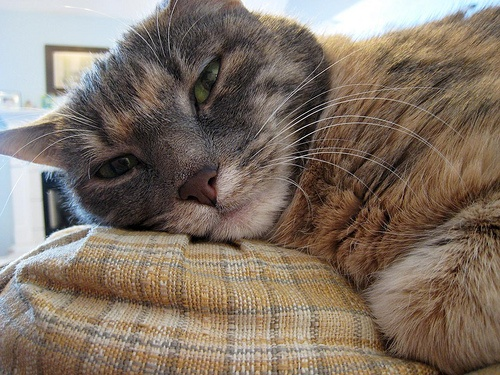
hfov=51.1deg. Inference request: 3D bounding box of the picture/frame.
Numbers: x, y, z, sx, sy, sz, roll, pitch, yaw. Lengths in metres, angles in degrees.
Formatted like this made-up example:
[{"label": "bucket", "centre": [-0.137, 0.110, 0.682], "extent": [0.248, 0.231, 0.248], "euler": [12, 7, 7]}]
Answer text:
[{"label": "picture/frame", "centre": [-1.276, -0.845, 3.899], "extent": [0.578, 0.430, 0.029], "euler": [6, 10, 18]}]
